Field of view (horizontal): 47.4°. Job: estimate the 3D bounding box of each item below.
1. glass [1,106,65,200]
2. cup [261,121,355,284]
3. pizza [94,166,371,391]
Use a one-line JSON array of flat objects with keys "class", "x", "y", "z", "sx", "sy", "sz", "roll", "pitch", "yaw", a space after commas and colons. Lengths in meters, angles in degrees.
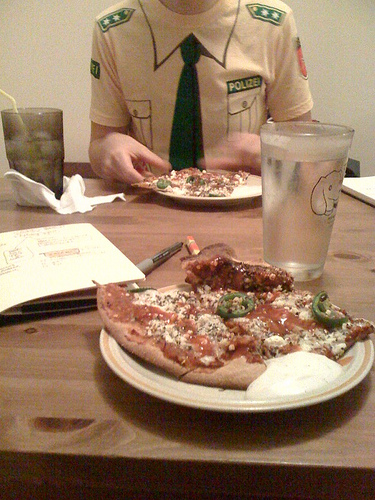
[{"class": "glass", "x": -0.345, "y": -0.214, "z": 0.969, "sx": 0.125, "sy": 0.202, "sz": 0.073, "roll": -3, "pitch": 19, "yaw": -20}, {"class": "cup", "x": 0.150, "y": -0.059, "z": 0.568, "sx": 0.121, "sy": 0.179, "sz": 0.119, "roll": 1, "pitch": 15, "yaw": 0}, {"class": "pizza", "x": 0.028, "y": 0.051, "z": 0.390, "sx": 0.187, "sy": 0.044, "sz": 0.197, "roll": -8, "pitch": 20, "yaw": -33}]
